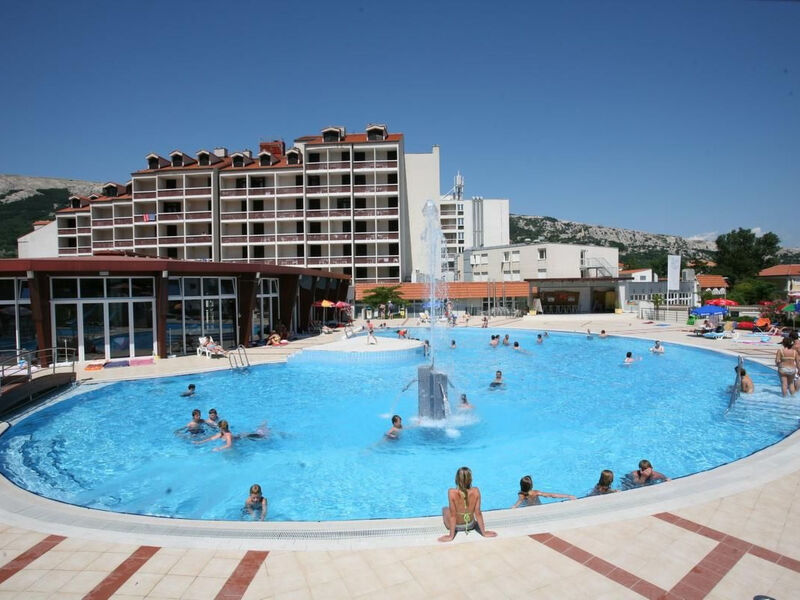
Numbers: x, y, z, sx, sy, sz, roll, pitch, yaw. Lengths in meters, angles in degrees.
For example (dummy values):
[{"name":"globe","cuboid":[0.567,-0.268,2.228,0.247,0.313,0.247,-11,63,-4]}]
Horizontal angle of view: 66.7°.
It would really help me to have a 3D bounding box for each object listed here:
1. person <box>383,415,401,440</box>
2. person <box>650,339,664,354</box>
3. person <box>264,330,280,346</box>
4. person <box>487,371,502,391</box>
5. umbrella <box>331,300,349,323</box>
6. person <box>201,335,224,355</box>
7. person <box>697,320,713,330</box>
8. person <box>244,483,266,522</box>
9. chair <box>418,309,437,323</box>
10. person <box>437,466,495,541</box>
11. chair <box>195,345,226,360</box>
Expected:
[{"name":"person","cuboid":[-0.199,3.291,15.930,0.467,0.524,0.852,-4,4,-1]},{"name":"person","cuboid":[11.550,2.108,27.337,0.386,0.688,0.262,-19,-39,32]},{"name":"person","cuboid":[-6.031,1.866,28.895,0.734,0.645,0.659,-2,-4,-16]},{"name":"person","cuboid":[3.301,2.711,20.969,0.489,0.530,1.034,-3,4,8]},{"name":"umbrella","cuboid":[-4.181,0.853,43.973,1.858,1.466,1.554,0,-1,-11]},{"name":"person","cuboid":[-7.678,1.869,24.441,0.998,0.329,0.679,8,9,43]},{"name":"person","cuboid":[15.579,1.386,30.886,0.813,0.170,0.794,-2,12,19]},{"name":"person","cuboid":[-2.918,4.026,12.140,0.456,0.637,0.598,-5,5,-13]},{"name":"chair","cuboid":[2.131,1.175,46.111,1.290,0.642,1.202,0,3,22]},{"name":"person","cuboid":[0.959,3.484,10.634,1.153,0.954,1.404,5,-3,-18]},{"name":"chair","cuboid":[-7.629,2.081,24.260,1.284,0.433,1.021,-3,4,-3]}]
